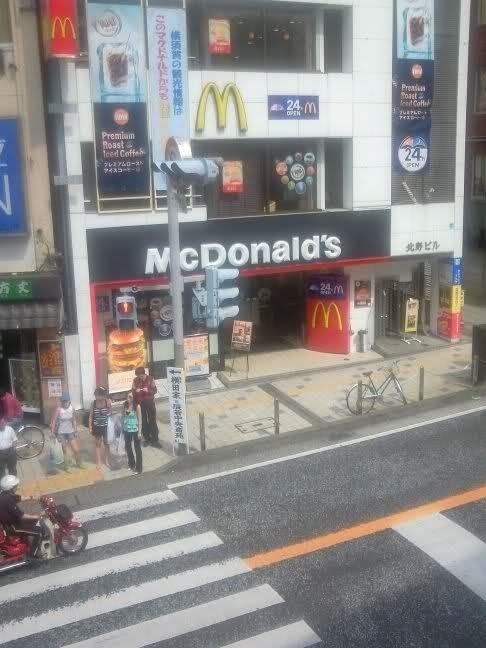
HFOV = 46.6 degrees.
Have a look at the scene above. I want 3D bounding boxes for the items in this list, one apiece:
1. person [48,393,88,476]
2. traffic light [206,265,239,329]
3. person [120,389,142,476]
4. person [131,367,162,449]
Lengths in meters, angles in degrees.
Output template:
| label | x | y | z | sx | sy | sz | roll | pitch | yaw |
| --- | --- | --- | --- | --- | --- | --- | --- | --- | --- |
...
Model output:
| label | x | y | z | sx | sy | sz | roll | pitch | yaw |
| --- | --- | --- | --- | --- | --- | --- | --- | --- | --- |
| person | -3.699 | 2.273 | 11.845 | 0.489 | 1.683 | 0.422 | -4 | 14 | -11 |
| traffic light | -0.427 | -0.222 | 11.268 | 0.665 | 1.878 | 0.618 | -2 | 14 | -14 |
| person | -2.335 | 2.277 | 11.830 | 0.376 | 1.631 | 0.959 | -3 | 6 | -10 |
| person | -2.190 | 1.886 | 12.806 | 0.542 | 1.941 | 0.487 | -4 | 12 | -25 |
